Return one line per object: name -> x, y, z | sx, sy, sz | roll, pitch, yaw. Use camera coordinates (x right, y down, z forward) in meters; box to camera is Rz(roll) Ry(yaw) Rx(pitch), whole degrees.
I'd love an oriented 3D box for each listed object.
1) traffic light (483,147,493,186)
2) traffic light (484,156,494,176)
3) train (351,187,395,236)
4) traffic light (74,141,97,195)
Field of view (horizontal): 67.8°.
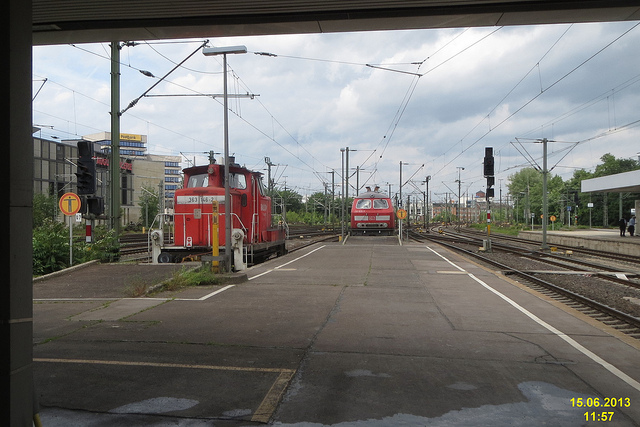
traffic light -> 9.430, -2.606, 26.712 | 0.448, 2.055, 0.771 | -1, 1, 18
traffic light -> 9.398, -2.623, 26.607 | 0.422, 1.014, 0.415 | -1, 1, 31
train -> 4.623, 0.096, 41.792 | 3.628, 5.053, 10.802 | 0, -3, 8
traffic light -> -8.291, -1.645, 16.912 | 0.610, 1.970, 1.114 | -2, 1, -27
